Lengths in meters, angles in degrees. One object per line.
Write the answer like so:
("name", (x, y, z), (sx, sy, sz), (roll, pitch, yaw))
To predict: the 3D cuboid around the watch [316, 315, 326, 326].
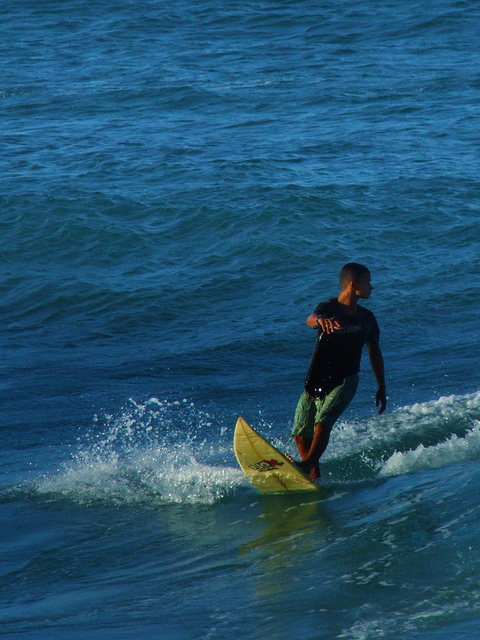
("watch", (0.812, 0.000, 12.420), (0.098, 0.087, 0.025), (21, 3, 30))
